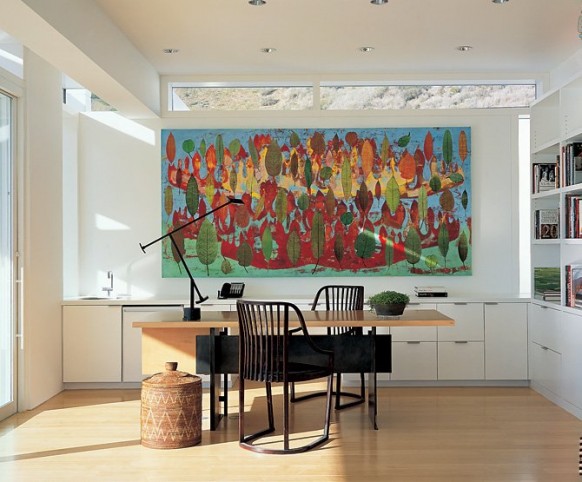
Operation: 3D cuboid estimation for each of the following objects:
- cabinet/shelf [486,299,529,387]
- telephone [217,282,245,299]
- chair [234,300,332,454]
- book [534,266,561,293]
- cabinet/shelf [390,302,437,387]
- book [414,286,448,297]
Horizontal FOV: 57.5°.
[{"bbox_3d":[2.269,1.054,5.669,0.450,0.893,0.499,2,-14,8],"label":"cabinet/shelf"},{"bbox_3d":[-0.656,0.542,5.715,0.285,0.155,0.202,-1,1,-11],"label":"telephone"},{"bbox_3d":[-0.067,0.974,4.180,0.768,1.111,1.188,0,1,3],"label":"chair"},{"bbox_3d":[2.605,0.403,5.414,0.246,0.247,0.059,0,-8,21],"label":"book"},{"bbox_3d":[1.262,1.158,5.671,0.536,0.551,0.429,0,2,-5],"label":"cabinet/shelf"},{"bbox_3d":[1.484,0.552,5.652,0.308,0.099,0.131,0,1,6],"label":"book"}]
